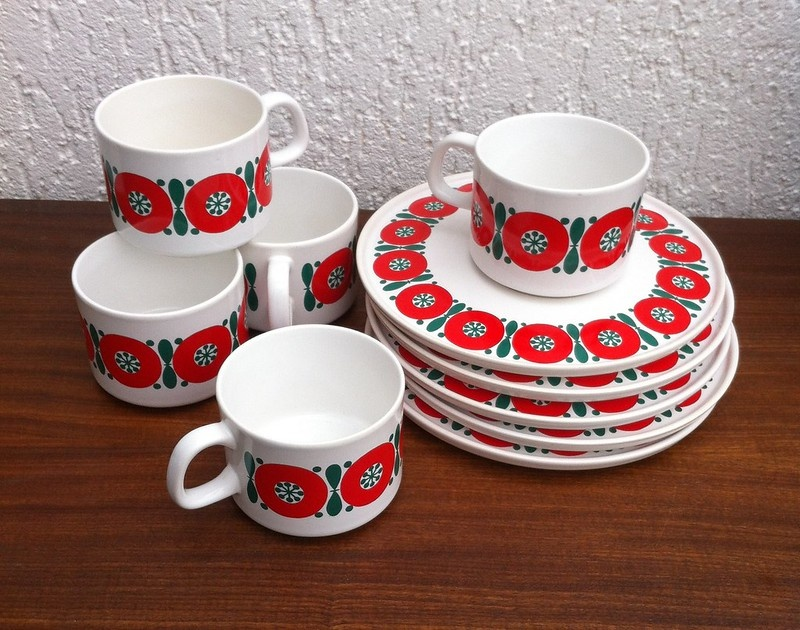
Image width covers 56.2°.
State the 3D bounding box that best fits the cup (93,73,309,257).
[{"bbox_3d":[-0.190,-0.146,0.690,0.167,0.096,0.166,1,48,-2],"label":"cup"}]

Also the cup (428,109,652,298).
[{"bbox_3d":[0.116,-0.109,0.691,0.196,0.116,0.147,11,41,10],"label":"cup"}]

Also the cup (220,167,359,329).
[{"bbox_3d":[-0.104,-0.058,0.772,0.113,0.089,0.183,5,38,6],"label":"cup"}]
